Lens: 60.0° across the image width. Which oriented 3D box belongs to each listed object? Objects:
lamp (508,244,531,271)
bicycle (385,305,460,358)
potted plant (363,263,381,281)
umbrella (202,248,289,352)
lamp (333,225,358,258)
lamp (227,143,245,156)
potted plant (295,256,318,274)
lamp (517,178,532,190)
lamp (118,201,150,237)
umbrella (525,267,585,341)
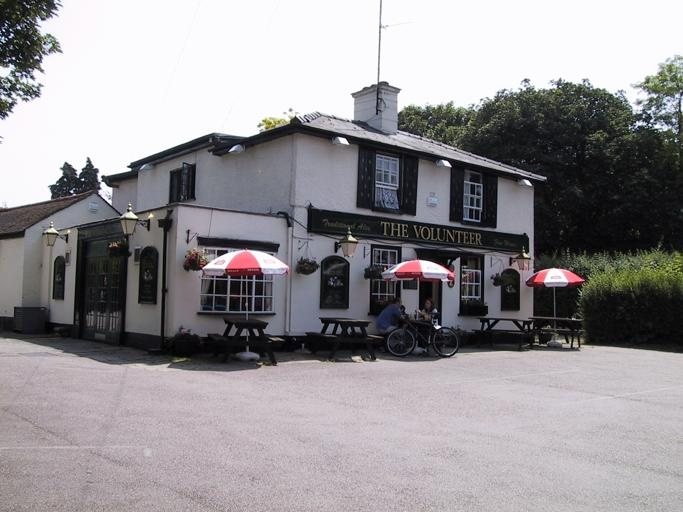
[{"bbox_3d":[6.997,0.103,23.221,0.763,1.279,0.811,0,5,-5],"label":"lamp"},{"bbox_3d":[2.351,2.258,17.517,2.163,1.332,1.149,2,-6,-13],"label":"bicycle"},{"bbox_3d":[0.998,0.499,18.720,0.445,0.356,0.469,-1,-3,11],"label":"potted plant"},{"bbox_3d":[-2.170,1.124,15.320,2.259,2.842,2.381,0,4,-4],"label":"umbrella"},{"bbox_3d":[0.141,-0.498,18.087,0.635,0.987,1.083,2,-8,-2],"label":"lamp"},{"bbox_3d":[-3.398,-3.444,19.068,0.396,0.160,0.398,-2,4,43],"label":"lamp"},{"bbox_3d":[-0.993,0.250,17.370,0.709,0.568,0.526,5,-8,-22],"label":"potted plant"},{"bbox_3d":[7.458,-3.003,24.100,0.443,0.342,0.932,-5,-11,40],"label":"lamp"},{"bbox_3d":[-5.777,-1.038,16.594,0.746,0.870,1.192,6,-9,-27],"label":"lamp"},{"bbox_3d":[7.803,1.539,21.993,2.445,3.202,2.636,-2,-2,20],"label":"umbrella"}]
